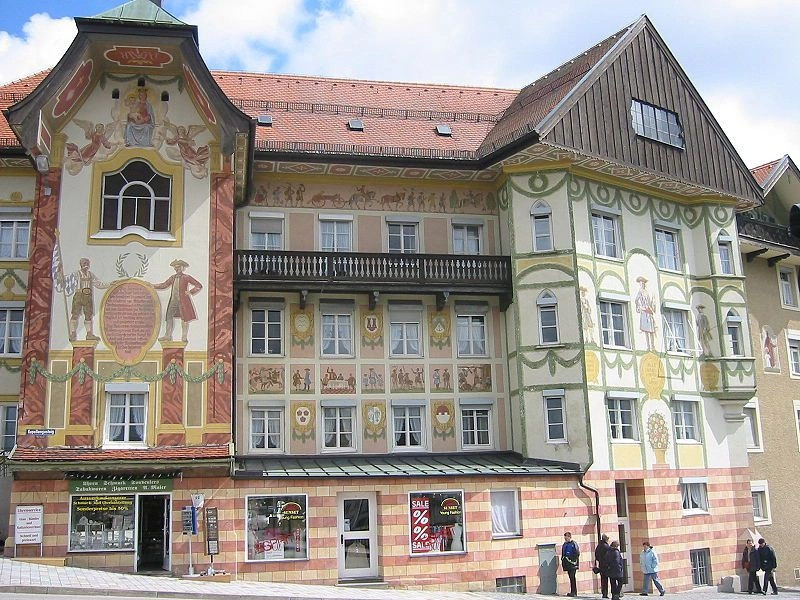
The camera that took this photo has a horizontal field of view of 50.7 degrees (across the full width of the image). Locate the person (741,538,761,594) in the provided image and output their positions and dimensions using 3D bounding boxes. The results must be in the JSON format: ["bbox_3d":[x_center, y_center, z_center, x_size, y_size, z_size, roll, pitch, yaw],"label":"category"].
[{"bbox_3d":[14.770,11.179,35.517,0.665,2.101,1.388,-8,-17,19],"label":"person"}]

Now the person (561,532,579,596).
[{"bbox_3d":[6.537,10.116,32.388,0.643,2.357,1.309,-5,-16,9],"label":"person"}]

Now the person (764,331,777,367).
[{"bbox_3d":[18.766,2.452,42.897,1.076,1.921,0.307,13,-22,-43],"label":"person"}]

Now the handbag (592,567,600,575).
[{"bbox_3d":[7.496,10.328,32.312,0.256,0.341,0.344,-1,-11,10],"label":"handbag"}]
